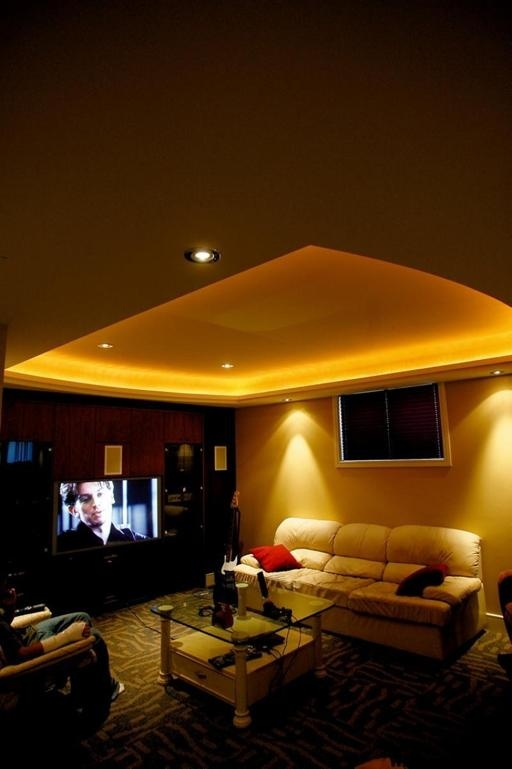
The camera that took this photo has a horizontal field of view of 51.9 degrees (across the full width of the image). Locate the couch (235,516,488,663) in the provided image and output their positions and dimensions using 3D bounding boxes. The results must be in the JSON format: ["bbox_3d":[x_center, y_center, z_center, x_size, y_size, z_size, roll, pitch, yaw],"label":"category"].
[{"bbox_3d":[0.833,1.768,4.864,0.830,0.874,2.339,4,-11,-40],"label":"couch"}]

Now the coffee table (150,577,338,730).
[{"bbox_3d":[-0.070,1.702,3.714,1.147,0.578,1.116,5,-10,-44],"label":"coffee table"}]

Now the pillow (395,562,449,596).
[{"bbox_3d":[1.266,1.513,4.046,0.386,0.190,0.238,-2,-7,-2],"label":"pillow"}]
